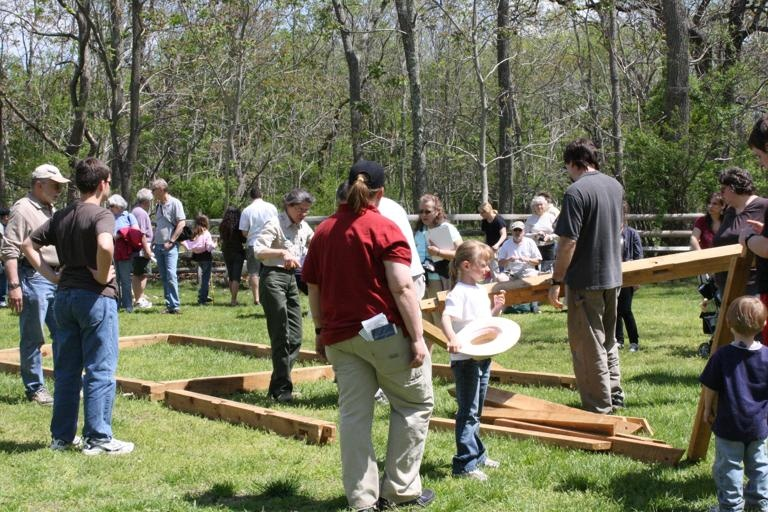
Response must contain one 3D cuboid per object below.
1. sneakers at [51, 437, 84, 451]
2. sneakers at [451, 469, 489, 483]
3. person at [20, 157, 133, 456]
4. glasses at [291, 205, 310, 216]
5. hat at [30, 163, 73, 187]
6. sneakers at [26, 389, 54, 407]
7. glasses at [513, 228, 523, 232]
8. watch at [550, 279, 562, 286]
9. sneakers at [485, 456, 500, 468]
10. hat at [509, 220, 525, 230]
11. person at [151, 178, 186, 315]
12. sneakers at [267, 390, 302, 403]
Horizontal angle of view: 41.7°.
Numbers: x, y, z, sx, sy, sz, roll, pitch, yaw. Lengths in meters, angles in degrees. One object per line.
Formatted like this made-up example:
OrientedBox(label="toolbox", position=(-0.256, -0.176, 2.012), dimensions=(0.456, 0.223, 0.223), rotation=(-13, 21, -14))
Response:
OrientedBox(label="sneakers", position=(-4.687, 2.796, 15.131), dimensions=(0.485, 0.238, 0.202), rotation=(-1, 4, -16))
OrientedBox(label="sneakers", position=(1.238, 3.099, 14.316), dimensions=(0.457, 0.215, 0.178), rotation=(-8, -3, 23))
OrientedBox(label="person", position=(-4.463, 0.728, 15.102), dimensions=(1.423, 4.400, 0.539), rotation=(0, 1, 20))
OrientedBox(label="glasses", position=(-1.342, -0.751, 16.613), dimensions=(0.162, 0.130, 0.216), rotation=(2, -8, -14))
OrientedBox(label="hat", position=(-5.256, -1.304, 16.081), dimensions=(0.537, 0.337, 0.374), rotation=(-2, 5, -5))
OrientedBox(label="sneakers", position=(-5.536, 2.298, 16.418), dimensions=(0.519, 0.257, 0.218), rotation=(2, 1, 26))
OrientedBox(label="glasses", position=(2.871, -0.574, 21.379), dimensions=(0.240, 0.049, 0.068), rotation=(-1, 1, -22))
OrientedBox(label="watch", position=(2.702, 0.405, 15.736), dimensions=(0.102, 0.061, 0.103), rotation=(6, -3, -24))
OrientedBox(label="sneakers", position=(1.574, 2.983, 14.587), dimensions=(0.187, 0.089, 0.108), rotation=(-4, 8, 2))
OrientedBox(label="hat", position=(2.875, -0.661, 21.562), dimensions=(0.244, 0.187, 0.473), rotation=(-1, 0, 2))
OrientedBox(label="person", position=(-4.835, -0.234, 22.936), dimensions=(0.703, 3.041, 0.873), rotation=(-1, 1, -13))
OrientedBox(label="sneakers", position=(-1.640, 2.287, 16.588), dimensions=(0.592, 0.271, 0.208), rotation=(-12, -7, 32))
